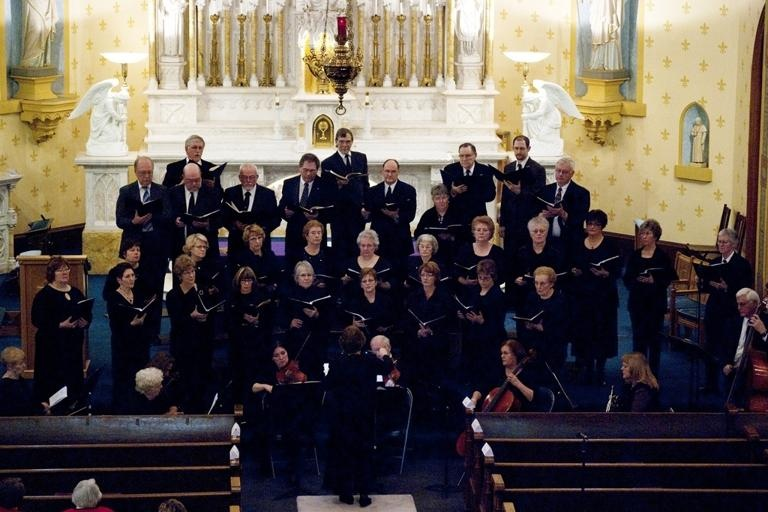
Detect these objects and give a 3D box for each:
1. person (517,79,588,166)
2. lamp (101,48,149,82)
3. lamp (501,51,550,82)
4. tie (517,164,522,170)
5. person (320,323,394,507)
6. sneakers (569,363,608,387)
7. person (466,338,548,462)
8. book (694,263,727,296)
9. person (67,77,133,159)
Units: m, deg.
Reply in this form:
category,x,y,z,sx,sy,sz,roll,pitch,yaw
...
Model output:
category,x,y,z,sx,sy,sz,roll,pitch,yaw
person,2.311,-1.863,14.958,0.713,1.092,0.862,-2,0,-14
lamp,-3.813,-2.770,15.598,0.682,0.555,1.676,-2,6,-18
lamp,2.086,-2.850,15.525,0.632,0.412,0.625,0,2,1
tie,1.541,-1.008,12.119,0.085,0.085,0.024,-1,2,17
person,-0.250,1.426,9.468,0.532,1.567,0.246,0,5,-3
sneakers,2.196,1.292,11.490,0.270,0.175,0.276,0,11,1
person,1.125,1.353,9.856,0.284,0.948,0.789,32,-15,-36
book,3.289,0.234,10.675,0.333,0.304,0.257,2,6,17
person,-4.073,-1.854,14.733,0.929,1.296,1.294,1,12,-3
